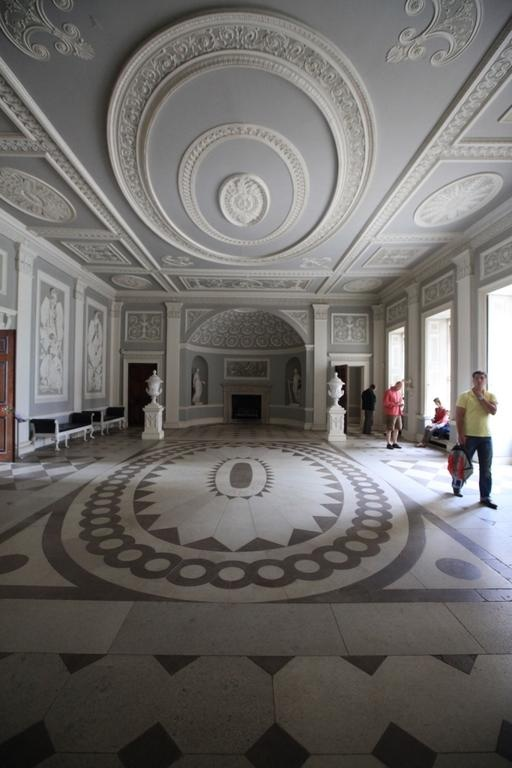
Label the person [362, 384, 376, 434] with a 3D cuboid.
[{"bbox_3d":[2.662,0.591,11.002,0.292,1.172,0.681,1,5,14],"label":"person"}]

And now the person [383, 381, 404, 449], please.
[{"bbox_3d":[2.506,0.561,8.541,0.304,1.214,0.836,1,5,16],"label":"person"}]

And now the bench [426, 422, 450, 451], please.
[{"bbox_3d":[3.240,0.928,8.238,0.201,0.481,0.903,0,5,1],"label":"bench"}]

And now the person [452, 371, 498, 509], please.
[{"bbox_3d":[2.184,0.519,4.610,0.391,1.266,0.482,2,5,24],"label":"person"}]

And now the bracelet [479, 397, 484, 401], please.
[{"bbox_3d":[2.217,0.140,4.592,0.049,0.050,0.079,3,5,27],"label":"bracelet"}]

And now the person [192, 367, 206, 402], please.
[{"bbox_3d":[-1.660,0.076,13.349,0.316,0.992,0.701,0,4,0],"label":"person"}]

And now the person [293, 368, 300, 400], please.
[{"bbox_3d":[1.165,0.053,13.329,0.190,0.896,0.334,0,4,4],"label":"person"}]

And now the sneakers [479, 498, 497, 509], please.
[{"bbox_3d":[2.228,1.143,4.456,0.142,0.053,0.187,3,5,25],"label":"sneakers"}]
